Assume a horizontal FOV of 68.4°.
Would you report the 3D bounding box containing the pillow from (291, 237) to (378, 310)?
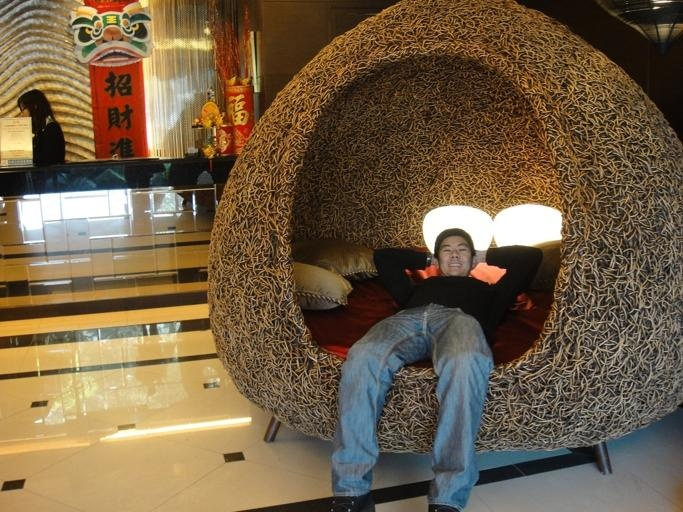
[{"bbox_3d":[-0.051,0.067,2.626,0.390,0.110,0.453,10,23,16],"label":"pillow"}]
